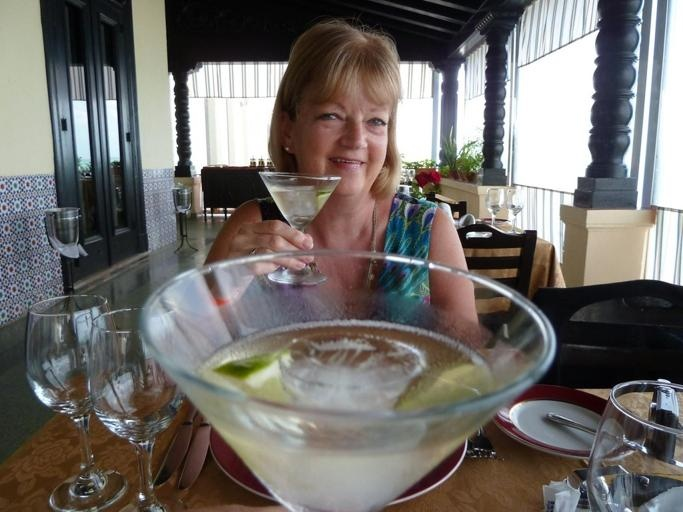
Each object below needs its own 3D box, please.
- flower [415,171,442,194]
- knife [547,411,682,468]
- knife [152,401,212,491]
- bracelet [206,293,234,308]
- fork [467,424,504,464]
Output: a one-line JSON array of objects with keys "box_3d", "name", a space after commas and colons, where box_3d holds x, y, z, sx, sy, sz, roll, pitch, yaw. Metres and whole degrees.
[{"box_3d": [0.776, -0.663, 4.155, 0.179, 0.214, 0.204, -2, 12, 5], "name": "flower"}, {"box_3d": [0.450, 0.287, 0.781, 0.029, 0.028, 0.227, 5, 1, -17], "name": "knife"}, {"box_3d": [-0.266, 0.325, 0.789, 0.050, 0.016, 0.218, 2, 14, -7], "name": "knife"}, {"box_3d": [-0.156, 0.055, 0.594, 0.021, 0.013, 0.022, -44, 3, 4], "name": "bracelet"}, {"box_3d": [0.242, 0.320, 0.802, 0.039, 0.021, 0.067, 0, 10, 2], "name": "fork"}]
